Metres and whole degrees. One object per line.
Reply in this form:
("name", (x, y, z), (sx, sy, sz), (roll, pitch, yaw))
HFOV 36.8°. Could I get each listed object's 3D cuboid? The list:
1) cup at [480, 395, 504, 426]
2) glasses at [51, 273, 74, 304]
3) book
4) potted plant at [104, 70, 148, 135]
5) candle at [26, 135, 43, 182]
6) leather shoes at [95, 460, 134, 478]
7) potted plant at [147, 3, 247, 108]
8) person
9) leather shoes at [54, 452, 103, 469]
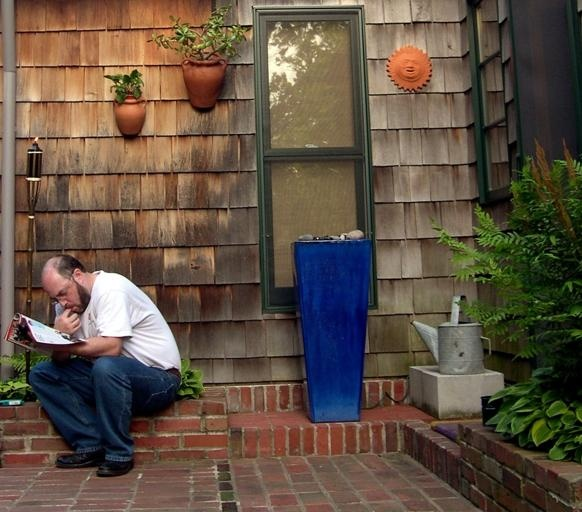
("cup", (1.010, 0.787, 4.475), (0.122, 0.149, 0.124), (1, -3, 0))
("glasses", (-1.297, 0.188, 4.959), (0.067, 0.161, 0.115), (-4, -10, -27))
("book", (-1.371, 0.434, 4.776), (0.238, 0.123, 0.316), (25, 1, 31))
("potted plant", (-1.087, -1.020, 5.888), (0.315, 0.581, 0.378), (-2, 2, -12))
("candle", (-1.706, -0.639, 5.825), (0.113, 0.283, 0.271), (-2, 8, -17))
("leather shoes", (-0.969, 1.164, 4.804), (0.072, 0.085, 0.199), (-1, -12, 35))
("potted plant", (-0.566, -1.343, 6.044), (0.604, 0.826, 0.689), (2, -3, -33))
("person", (-1.054, 0.608, 4.959), (0.851, 1.196, 0.522), (-1, 7, -8))
("leather shoes", (-1.200, 1.154, 4.965), (0.253, 0.123, 0.106), (5, -4, -7))
